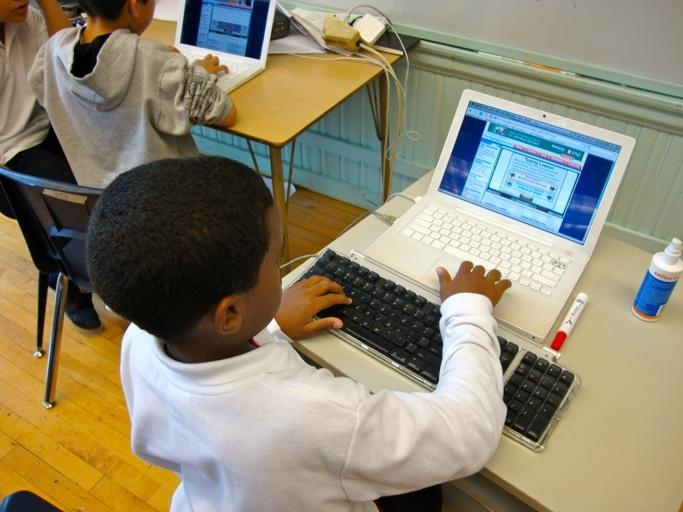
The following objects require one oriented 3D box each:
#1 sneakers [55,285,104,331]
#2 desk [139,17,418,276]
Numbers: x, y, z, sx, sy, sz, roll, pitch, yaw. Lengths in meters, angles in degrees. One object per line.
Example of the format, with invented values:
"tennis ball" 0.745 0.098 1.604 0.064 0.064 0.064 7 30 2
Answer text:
"sneakers" -1.140 0.184 2.273 0.114 0.232 0.299 -8 19 -40
"desk" -0.324 -0.480 2.548 1.151 1.192 1.023 20 51 21
